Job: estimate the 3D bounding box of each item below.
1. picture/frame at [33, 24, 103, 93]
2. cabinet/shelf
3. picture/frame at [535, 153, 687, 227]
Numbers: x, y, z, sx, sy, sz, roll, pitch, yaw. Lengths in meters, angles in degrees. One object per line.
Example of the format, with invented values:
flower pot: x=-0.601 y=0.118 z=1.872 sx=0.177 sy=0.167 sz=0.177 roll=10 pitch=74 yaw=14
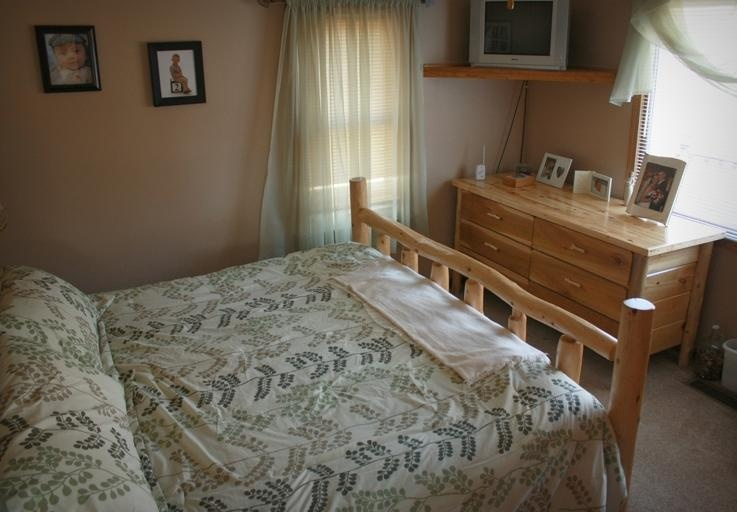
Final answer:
picture/frame: x=-1.866 y=-1.233 z=3.138 sx=0.381 sy=0.446 sz=0.035 roll=-10 pitch=19 yaw=-26
cabinet/shelf: x=1.480 y=0.073 z=3.242 sx=0.483 sy=0.651 sz=1.243 roll=-9 pitch=26 yaw=-21
picture/frame: x=1.708 y=-0.439 z=3.447 sx=0.402 sy=0.526 sz=0.526 roll=-4 pitch=22 yaw=-20
